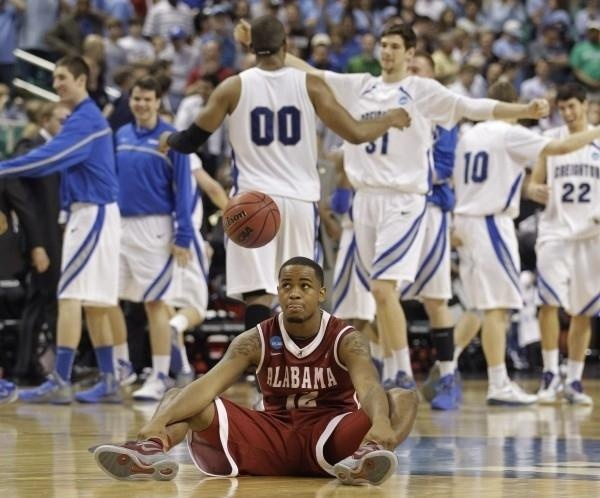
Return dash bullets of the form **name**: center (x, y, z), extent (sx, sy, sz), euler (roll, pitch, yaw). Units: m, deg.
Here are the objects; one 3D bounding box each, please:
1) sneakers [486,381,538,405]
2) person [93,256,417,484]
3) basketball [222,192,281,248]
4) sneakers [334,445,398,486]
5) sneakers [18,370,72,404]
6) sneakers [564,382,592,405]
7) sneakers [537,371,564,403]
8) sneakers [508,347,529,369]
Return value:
- **sneakers**: center (1.676, 1.142, 7.773), extent (0.391, 0.208, 0.167), euler (1, -1, -3)
- **person**: center (-0.092, 0.830, 5.330), extent (1.224, 1.100, 1.357), euler (-4, -19, 18)
- **basketball**: center (-0.313, -0.161, 6.455), extent (0.347, 0.374, 0.392), euler (3, -48, -22)
- **sneakers**: center (0.333, 1.095, 4.987), extent (0.343, 0.209, 0.150), euler (-4, -7, 40)
- **sneakers**: center (-2.077, 1.135, 7.971), extent (0.444, 0.261, 0.247), euler (-1, -6, 17)
- **sneakers**: center (2.222, 1.147, 7.805), extent (0.147, 0.110, 0.209), euler (5, 12, -19)
- **sneakers**: center (2.079, 1.156, 8.038), extent (0.112, 0.280, 0.190), euler (19, -13, -19)
- **sneakers**: center (2.256, 1.148, 10.093), extent (0.144, 0.273, 0.068), euler (-17, 2, -19)
